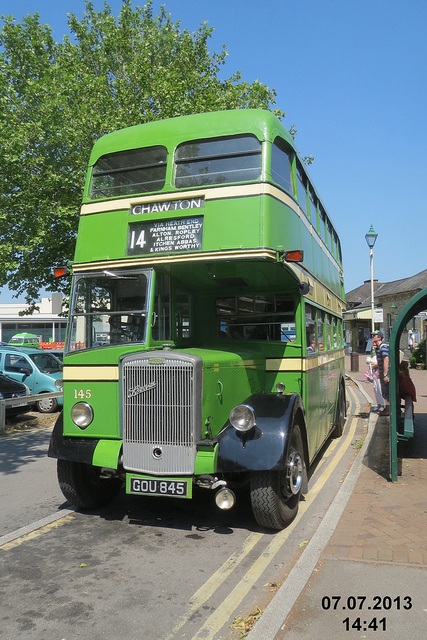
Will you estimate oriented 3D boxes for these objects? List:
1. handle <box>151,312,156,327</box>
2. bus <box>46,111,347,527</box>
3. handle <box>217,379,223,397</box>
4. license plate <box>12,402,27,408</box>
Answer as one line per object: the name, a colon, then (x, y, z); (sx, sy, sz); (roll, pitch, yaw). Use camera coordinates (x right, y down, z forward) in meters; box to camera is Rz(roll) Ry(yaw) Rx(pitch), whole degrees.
handle: (-0.631, -0.007, 4.624); (0.018, 0.154, 0.102); (-4, -9, 12)
bus: (0.001, -0.066, 5.478); (2.647, 4.551, 3.011); (-6, -9, 25)
handle: (0.069, 0.670, 4.358); (0.022, 0.163, 0.098); (-5, -9, 18)
license plate: (-5.122, 2.226, 11.640); (0.346, 0.107, 0.647); (-2, -9, -6)
